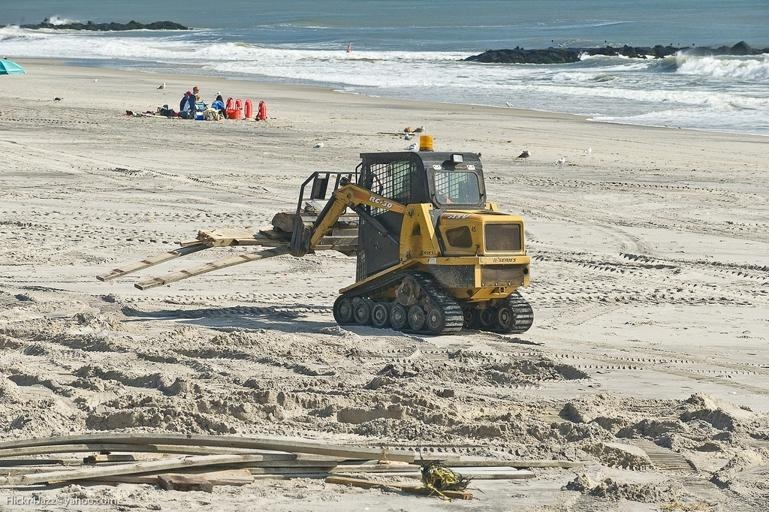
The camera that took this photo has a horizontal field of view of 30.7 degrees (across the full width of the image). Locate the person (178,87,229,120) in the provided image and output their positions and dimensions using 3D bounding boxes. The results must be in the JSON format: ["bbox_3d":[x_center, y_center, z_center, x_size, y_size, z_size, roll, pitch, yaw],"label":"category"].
[{"bbox_3d":[-6.365,-5.165,48.281,1.296,0.789,1.741,-1,8,-13],"label":"person"}]

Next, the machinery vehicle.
[{"bbox_3d":[0.583,-0.325,27.720,3.922,3.478,2.075,13,22,38],"label":"machinery vehicle"}]
